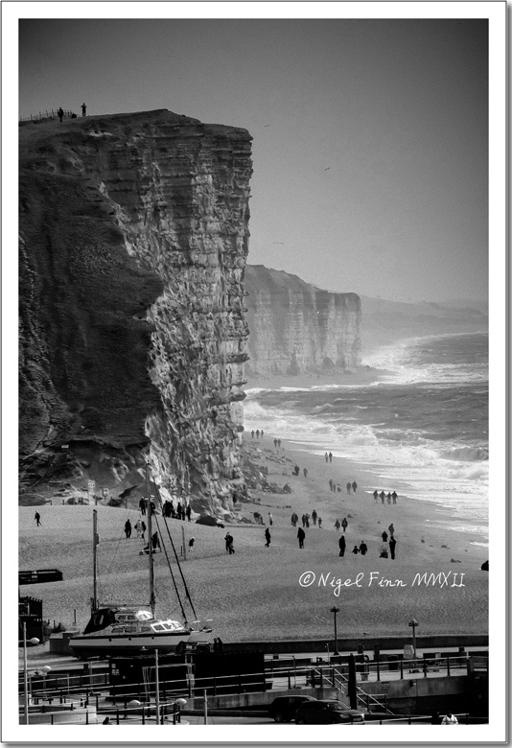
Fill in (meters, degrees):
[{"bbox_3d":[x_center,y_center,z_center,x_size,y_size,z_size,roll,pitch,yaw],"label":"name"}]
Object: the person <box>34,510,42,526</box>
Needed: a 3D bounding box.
[{"bbox_3d":[-7.191,4.743,39.591,0.216,0.462,1.045,0,-3,-11],"label":"person"}]
